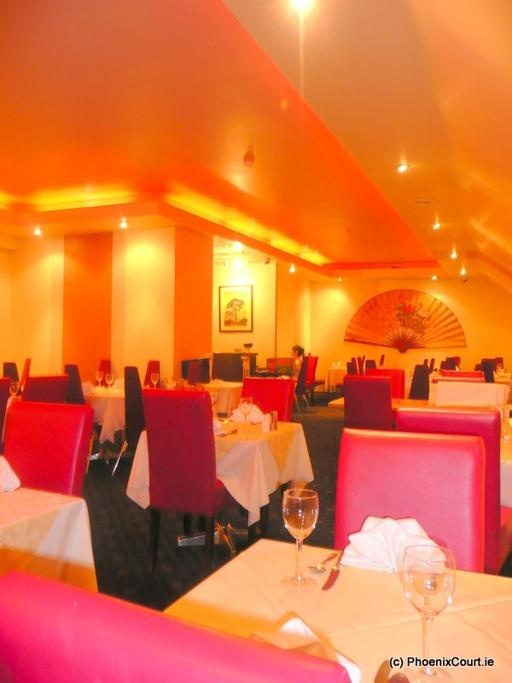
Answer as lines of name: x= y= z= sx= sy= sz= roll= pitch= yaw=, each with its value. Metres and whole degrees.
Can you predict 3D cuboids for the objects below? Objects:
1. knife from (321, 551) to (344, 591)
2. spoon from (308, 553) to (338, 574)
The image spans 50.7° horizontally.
knife: x=0.153 y=0.472 z=1.135 sx=0.019 sy=0.011 sz=0.142 roll=1 pitch=6 yaw=15
spoon: x=0.147 y=0.479 z=1.204 sx=0.023 sy=0.023 sz=0.121 roll=2 pitch=-1 yaw=21
